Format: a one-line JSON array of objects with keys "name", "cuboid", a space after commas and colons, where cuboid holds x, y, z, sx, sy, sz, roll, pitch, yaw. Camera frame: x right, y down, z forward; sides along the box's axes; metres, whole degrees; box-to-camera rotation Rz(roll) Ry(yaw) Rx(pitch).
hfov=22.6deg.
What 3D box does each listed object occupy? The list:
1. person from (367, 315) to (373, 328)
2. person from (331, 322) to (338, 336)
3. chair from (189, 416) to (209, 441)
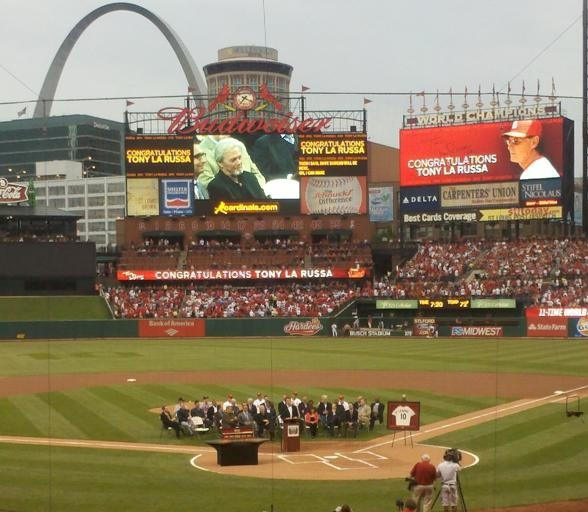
[{"name": "person", "cuboid": [5.729, 4.834, 110.130, 0.394, 0.886, 1.222, -2, -4, 2]}, {"name": "person", "cuboid": [3.063, 5.390, 109.954, 0.484, 1.047, 0.726, -2, -4, 1]}, {"name": "chair", "cuboid": [-4.651, 8.491, 73.764, 0.765, 0.905, 0.999, 1, -2, -28]}]
